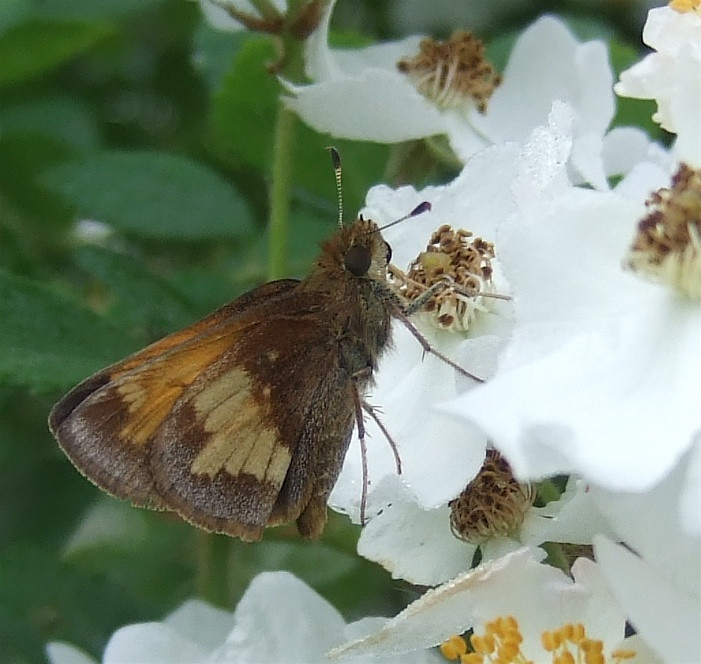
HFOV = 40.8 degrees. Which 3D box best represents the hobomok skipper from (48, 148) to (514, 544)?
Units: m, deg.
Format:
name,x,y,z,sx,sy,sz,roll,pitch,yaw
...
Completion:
name,x,y,z,sx,sy,sz,roll,pitch,yaw
hobomok skipper,-0.078,-0.011,0.901,0.222,0.353,0.364,32,83,-3
